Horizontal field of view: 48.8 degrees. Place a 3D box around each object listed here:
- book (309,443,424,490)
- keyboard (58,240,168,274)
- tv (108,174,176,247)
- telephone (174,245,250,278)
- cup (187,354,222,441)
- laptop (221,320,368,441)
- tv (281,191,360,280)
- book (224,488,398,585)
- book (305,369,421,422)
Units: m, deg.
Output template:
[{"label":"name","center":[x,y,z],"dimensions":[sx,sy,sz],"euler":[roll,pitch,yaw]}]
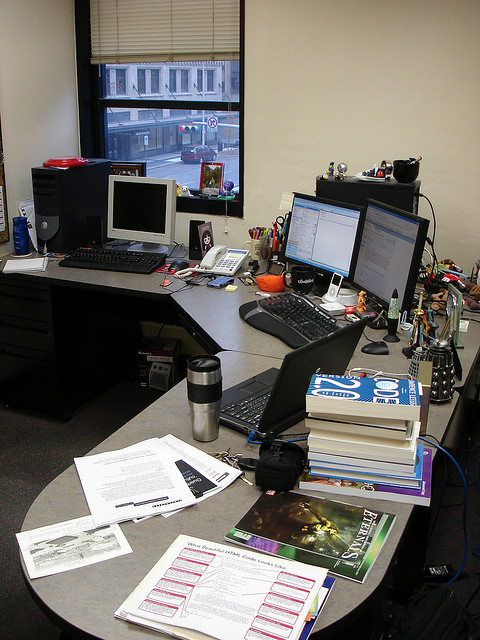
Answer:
[{"label":"book","center":[0.282,0.273,1.154],"dimensions":[0.240,0.035,0.209],"euler":[6,15,16]},{"label":"keyboard","center":[-0.660,-0.324,2.818],"dimensions":[0.510,0.055,0.323],"euler":[8,22,10]},{"label":"tv","center":[-0.532,-0.594,2.871],"dimensions":[0.379,0.338,0.134],"euler":[8,17,19]},{"label":"telephone","center":[-0.081,-0.300,2.713],"dimensions":[0.252,0.077,0.222],"euler":[9,28,31]},{"label":"cup","center":[-0.088,0.183,1.275],"dimensions":[0.080,0.195,0.126],"euler":[1,22,-8]},{"label":"laptop","center":[0.099,0.125,1.368],"dimensions":[0.409,0.227,0.413],"euler":[4,17,20]},{"label":"tv","center":[0.348,-0.374,2.350],"dimensions":[0.436,0.317,0.046],"euler":[7,6,-36]},{"label":"book","center":[0.130,0.373,0.957],"dimensions":[0.257,0.037,0.200],"euler":[14,24,23]},{"label":"book","center":[0.249,0.154,1.067],"dimensions":[0.141,0.032,0.141],"euler":[7,13,5]}]
